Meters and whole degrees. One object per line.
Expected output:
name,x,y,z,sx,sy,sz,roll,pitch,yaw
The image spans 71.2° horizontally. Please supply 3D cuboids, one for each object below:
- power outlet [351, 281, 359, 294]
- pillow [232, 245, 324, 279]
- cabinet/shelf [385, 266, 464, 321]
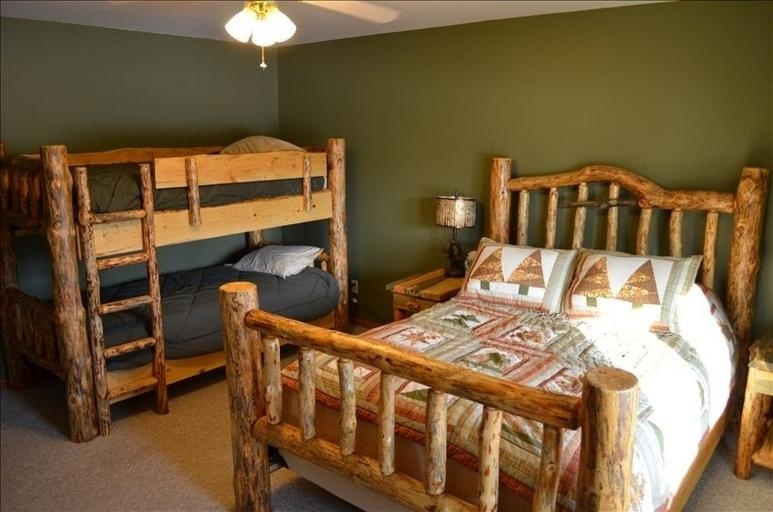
power outlet,-0.321,0.325,5.593,0.127,0.164,0.018,7,10,38
pillow,-0.960,0.024,5.151,0.449,0.143,0.497,-3,11,36
cabinet/shelf,0.395,0.269,4.697,0.433,0.618,0.570,6,12,36
